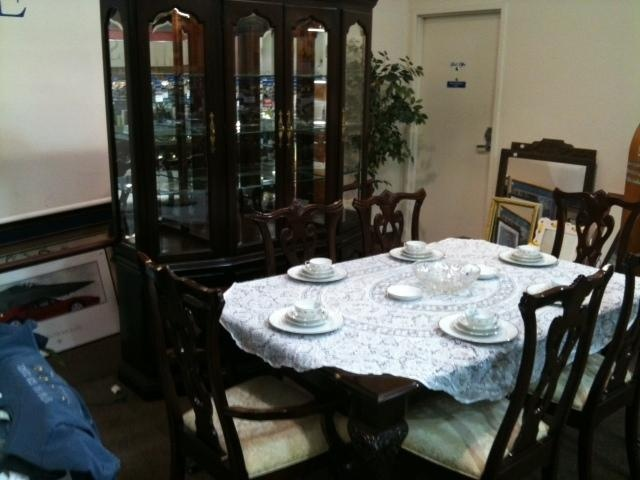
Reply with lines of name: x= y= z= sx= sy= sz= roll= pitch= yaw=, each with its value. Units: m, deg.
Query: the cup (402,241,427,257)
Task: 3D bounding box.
cup: x=0.495 y=0.035 z=2.521 sx=0.088 sy=0.049 sz=0.088 roll=1 pitch=20 yaw=0

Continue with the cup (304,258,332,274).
cup: x=-0.010 y=0.113 z=2.254 sx=0.088 sy=0.043 sz=0.077 roll=-4 pitch=17 yaw=-3

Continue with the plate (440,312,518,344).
plate: x=0.568 y=0.315 z=1.773 sx=0.276 sy=0.045 sz=0.190 roll=4 pitch=17 yaw=13

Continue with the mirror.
mirror: x=1.729 y=-0.389 z=3.701 sx=0.671 sy=0.843 sz=0.054 roll=20 pitch=19 yaw=40
